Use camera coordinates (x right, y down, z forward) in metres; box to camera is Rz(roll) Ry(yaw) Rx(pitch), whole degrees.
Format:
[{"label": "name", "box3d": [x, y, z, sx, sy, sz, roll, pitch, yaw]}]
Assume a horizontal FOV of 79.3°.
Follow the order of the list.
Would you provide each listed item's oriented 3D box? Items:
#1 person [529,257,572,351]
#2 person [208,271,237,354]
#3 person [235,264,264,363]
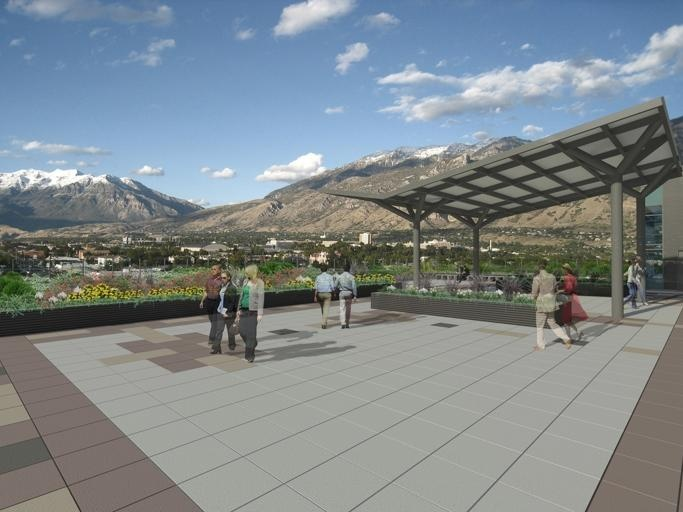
[{"label": "person", "box3d": [4.652, 1.080, 9.157, 0.765, 2.001, 1.197, 3, 6, 27]}, {"label": "person", "box3d": [-2.490, 1.208, 8.747, 0.570, 1.700, 0.917, -2, 6, -15]}, {"label": "person", "box3d": [-1.844, 1.139, 8.325, 0.508, 1.890, 1.067, -1, 6, -11]}]
